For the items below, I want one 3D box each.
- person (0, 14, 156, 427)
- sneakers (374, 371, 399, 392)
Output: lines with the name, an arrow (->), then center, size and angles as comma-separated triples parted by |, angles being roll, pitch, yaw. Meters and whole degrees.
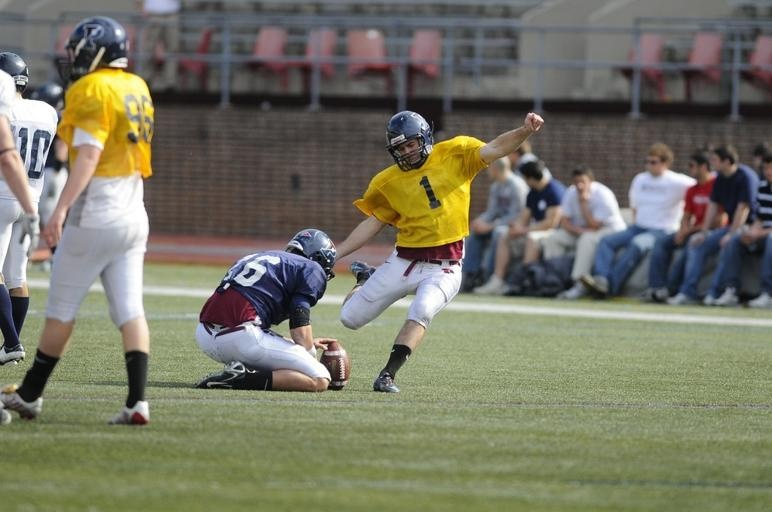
person -> -2.761, -0.322, 14.032 | 1.282, 3.667, 1.120 | -3, 15, 0
sneakers -> -0.016, 1.244, 14.871 | 0.142, 0.126, 0.328 | 5, -8, -41
